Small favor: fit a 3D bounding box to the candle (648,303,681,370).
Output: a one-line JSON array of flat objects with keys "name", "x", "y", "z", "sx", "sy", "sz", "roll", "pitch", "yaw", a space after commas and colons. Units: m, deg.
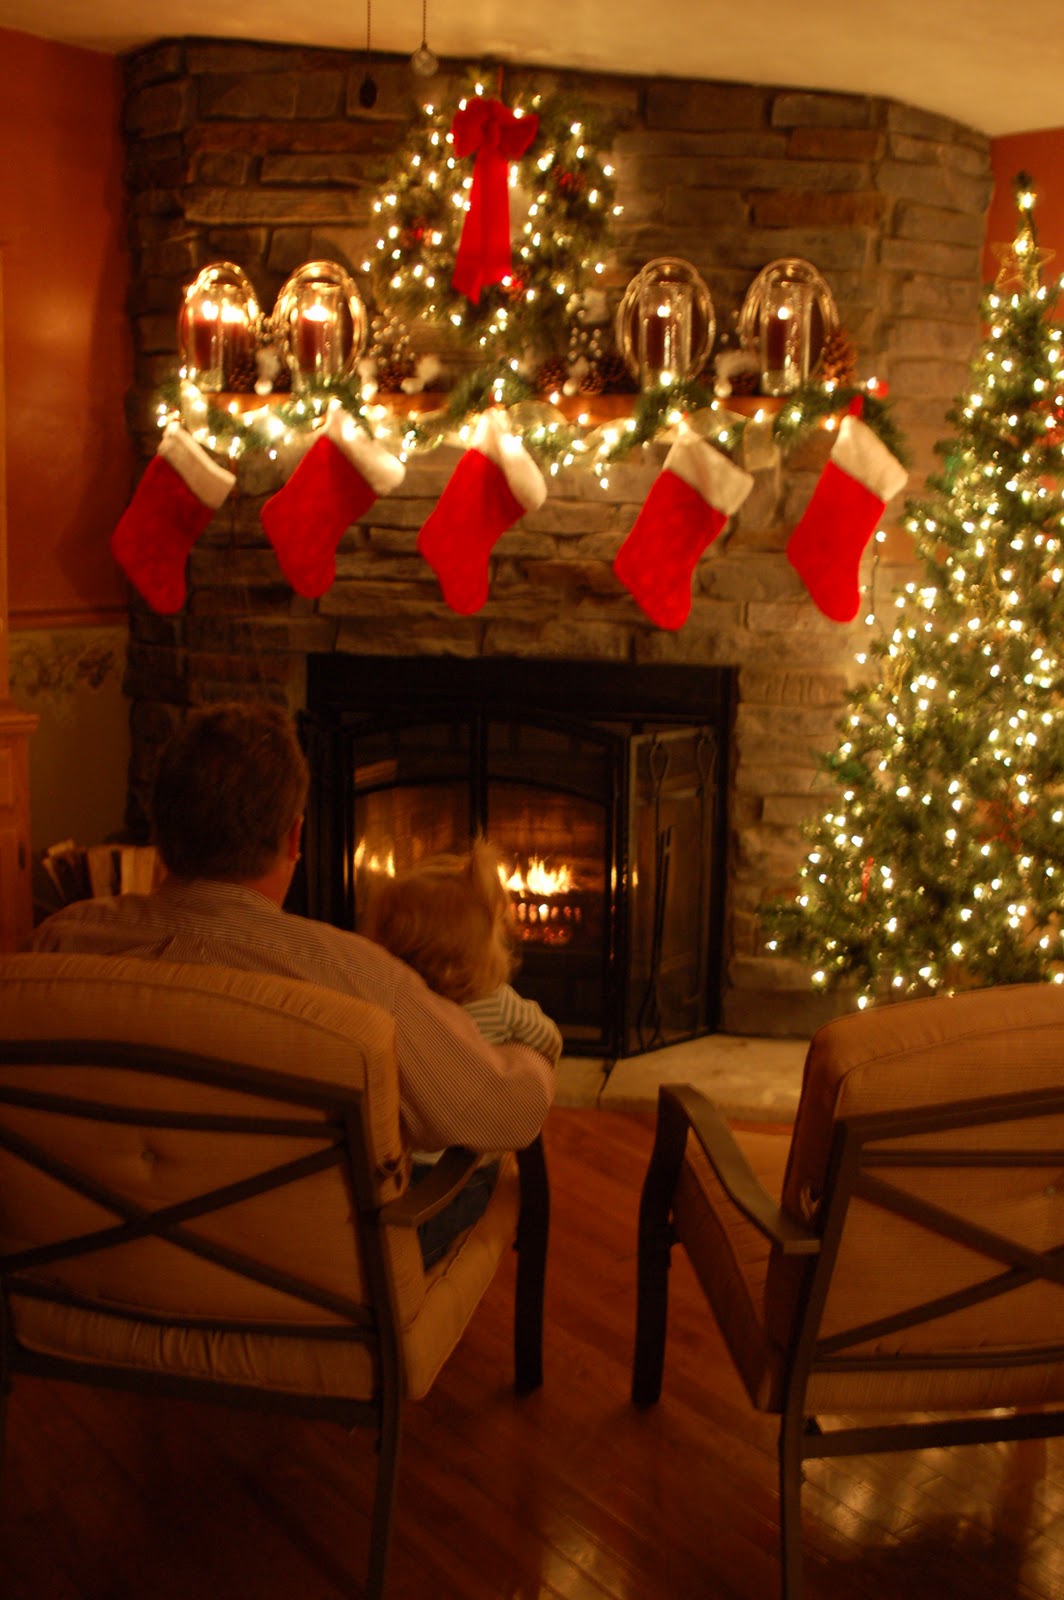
[{"name": "candle", "x": 0.246, "y": -0.870, "z": 2.586, "sx": 0.054, "sy": 0.120, "sz": 0.030, "roll": 2, "pitch": 6, "yaw": 3}]
